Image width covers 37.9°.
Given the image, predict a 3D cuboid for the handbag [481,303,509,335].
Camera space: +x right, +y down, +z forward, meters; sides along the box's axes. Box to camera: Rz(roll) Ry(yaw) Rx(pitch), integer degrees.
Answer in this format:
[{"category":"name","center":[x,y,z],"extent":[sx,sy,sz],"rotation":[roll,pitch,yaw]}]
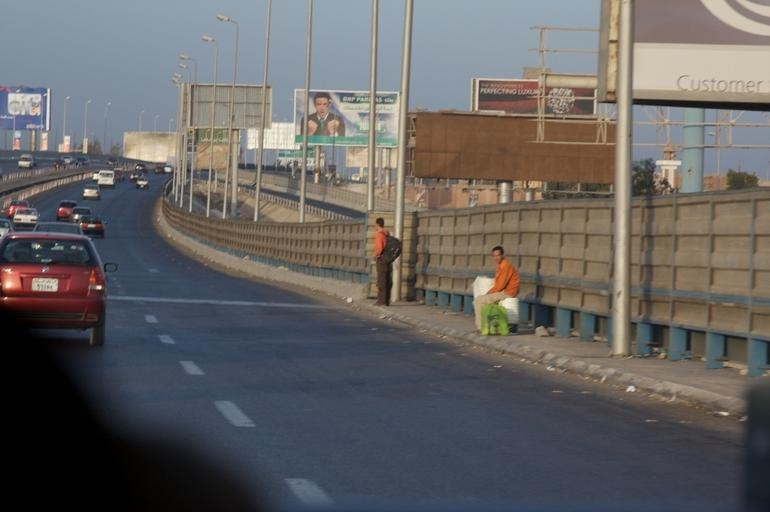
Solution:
[{"category":"handbag","center":[2.156,1.221,21.873],"extent":[0.535,0.593,0.301],"rotation":[3,7,6]}]

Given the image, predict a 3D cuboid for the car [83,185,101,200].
[{"category":"car","center":[-27.683,-6.081,106.874],"extent":[1.205,1.064,2.472],"rotation":[1,9,1]}]
